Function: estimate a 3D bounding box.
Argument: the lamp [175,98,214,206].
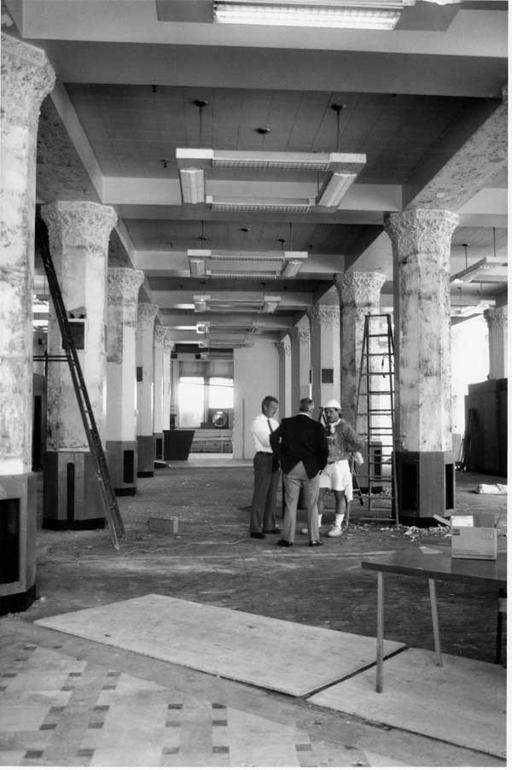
[{"bbox_3d":[-0.763,-2.628,7.633,0.320,1.123,0.274,3,10,7],"label":"lamp"}]

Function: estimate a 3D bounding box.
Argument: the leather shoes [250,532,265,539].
[{"bbox_3d":[0.022,1.815,8.169,0.158,0.102,0.071,-1,-1,5],"label":"leather shoes"}]

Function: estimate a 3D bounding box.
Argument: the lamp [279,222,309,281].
[{"bbox_3d":[0.630,-2.452,12.451,0.233,0.912,0.945,-2,-7,-8],"label":"lamp"}]

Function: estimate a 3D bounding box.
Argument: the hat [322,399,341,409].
[{"bbox_3d":[1.277,0.331,11.586,0.130,0.119,0.177,-2,-10,42],"label":"hat"}]

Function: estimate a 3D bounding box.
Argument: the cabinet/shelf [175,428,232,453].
[{"bbox_3d":[-2.115,2.691,32.661,1.889,1.046,3.368,0,-3,-5],"label":"cabinet/shelf"}]

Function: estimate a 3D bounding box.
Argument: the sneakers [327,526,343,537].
[{"bbox_3d":[0.979,1.816,8.440,0.175,0.124,0.291,0,-3,8],"label":"sneakers"}]

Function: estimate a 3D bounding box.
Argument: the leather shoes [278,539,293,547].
[{"bbox_3d":[0.321,1.752,7.619,0.066,0.107,0.200,3,-2,-24],"label":"leather shoes"}]

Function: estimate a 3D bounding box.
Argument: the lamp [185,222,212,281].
[{"bbox_3d":[-0.956,-2.486,11.950,0.322,0.793,0.368,2,-6,8],"label":"lamp"}]

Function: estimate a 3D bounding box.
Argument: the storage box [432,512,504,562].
[{"bbox_3d":[1.054,0.741,3.306,0.239,0.241,0.162,-2,-3,14],"label":"storage box"}]

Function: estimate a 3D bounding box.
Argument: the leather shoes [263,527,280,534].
[{"bbox_3d":[0.199,1.857,8.635,0.182,0.117,0.080,-3,-2,10],"label":"leather shoes"}]

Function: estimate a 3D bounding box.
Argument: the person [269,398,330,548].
[{"bbox_3d":[0.471,0.980,7.607,0.630,1.669,0.761,0,-2,2],"label":"person"}]
